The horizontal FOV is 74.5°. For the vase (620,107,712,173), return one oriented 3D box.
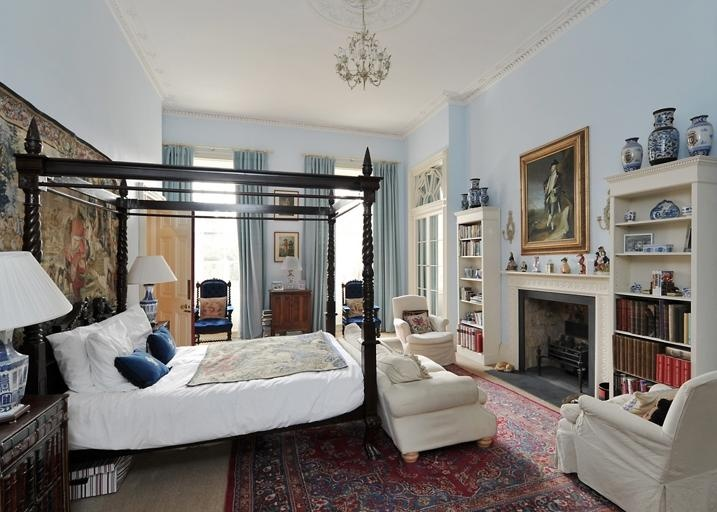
[{"bbox_3d":[3.115,-1.157,4.728,0.248,0.546,0.739,10,-11,-33],"label":"vase"}]

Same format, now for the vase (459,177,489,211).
[{"bbox_3d":[1.764,-0.925,7.131,0.396,0.497,0.477,5,15,18],"label":"vase"}]

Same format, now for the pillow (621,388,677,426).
[{"bbox_3d":[2.515,1.308,4.085,0.121,0.301,0.326,40,-25,-23],"label":"pillow"}]

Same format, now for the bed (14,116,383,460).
[{"bbox_3d":[-1.835,0.304,5.449,4.113,4.036,1.666,1,-4,-26],"label":"bed"}]

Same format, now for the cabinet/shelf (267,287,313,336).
[{"bbox_3d":[-1.204,0.954,8.179,0.809,0.995,0.396,0,0,-21],"label":"cabinet/shelf"}]

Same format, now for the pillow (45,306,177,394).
[{"bbox_3d":[-2.447,0.696,4.472,0.507,0.501,1.266,2,-1,-7],"label":"pillow"}]

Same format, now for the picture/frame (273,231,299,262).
[{"bbox_3d":[-1.343,-0.176,8.568,0.537,0.672,0.046,0,7,-17],"label":"picture/frame"}]

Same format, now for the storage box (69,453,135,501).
[{"bbox_3d":[-2.303,1.947,4.183,0.444,0.267,0.231,-5,15,-17],"label":"storage box"}]

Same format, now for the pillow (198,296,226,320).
[{"bbox_3d":[-2.509,0.888,7.989,0.356,0.342,0.140,0,1,-17],"label":"pillow"}]

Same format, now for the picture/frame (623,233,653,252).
[{"bbox_3d":[2.945,-0.144,4.946,0.026,0.165,0.189,5,-4,-40],"label":"picture/frame"}]

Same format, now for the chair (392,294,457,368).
[{"bbox_3d":[1.015,1.151,7.287,0.868,1.155,1.004,1,-9,-21],"label":"chair"}]

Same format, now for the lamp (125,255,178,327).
[{"bbox_3d":[-2.595,0.376,5.774,0.685,0.875,0.711,-2,-2,-33],"label":"lamp"}]
